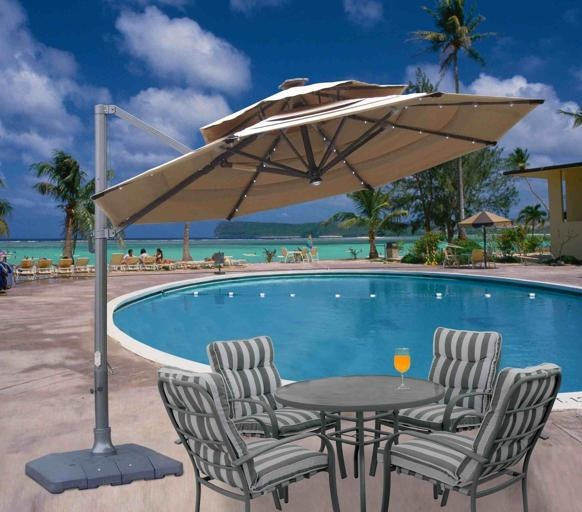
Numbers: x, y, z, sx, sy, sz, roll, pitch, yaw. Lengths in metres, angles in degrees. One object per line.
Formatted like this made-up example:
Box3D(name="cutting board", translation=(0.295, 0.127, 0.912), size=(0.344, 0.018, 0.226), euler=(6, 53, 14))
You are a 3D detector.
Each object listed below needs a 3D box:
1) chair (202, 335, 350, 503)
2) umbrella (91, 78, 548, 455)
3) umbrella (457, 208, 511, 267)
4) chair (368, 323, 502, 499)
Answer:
Box3D(name="chair", translation=(-0.141, 1.410, 4.354), size=(0.979, 1.381, 0.922), euler=(0, -7, -41))
Box3D(name="umbrella", translation=(-0.110, -0.486, 5.656), size=(4.614, 2.956, 3.988), euler=(-3, 8, 14))
Box3D(name="umbrella", translation=(9.999, -1.020, 25.018), size=(2.609, 2.877, 2.429), euler=(-7, 10, -2))
Box3D(name="chair", translation=(1.351, 1.359, 4.331), size=(0.895, 1.460, 0.863), euler=(4, -4, -22))
